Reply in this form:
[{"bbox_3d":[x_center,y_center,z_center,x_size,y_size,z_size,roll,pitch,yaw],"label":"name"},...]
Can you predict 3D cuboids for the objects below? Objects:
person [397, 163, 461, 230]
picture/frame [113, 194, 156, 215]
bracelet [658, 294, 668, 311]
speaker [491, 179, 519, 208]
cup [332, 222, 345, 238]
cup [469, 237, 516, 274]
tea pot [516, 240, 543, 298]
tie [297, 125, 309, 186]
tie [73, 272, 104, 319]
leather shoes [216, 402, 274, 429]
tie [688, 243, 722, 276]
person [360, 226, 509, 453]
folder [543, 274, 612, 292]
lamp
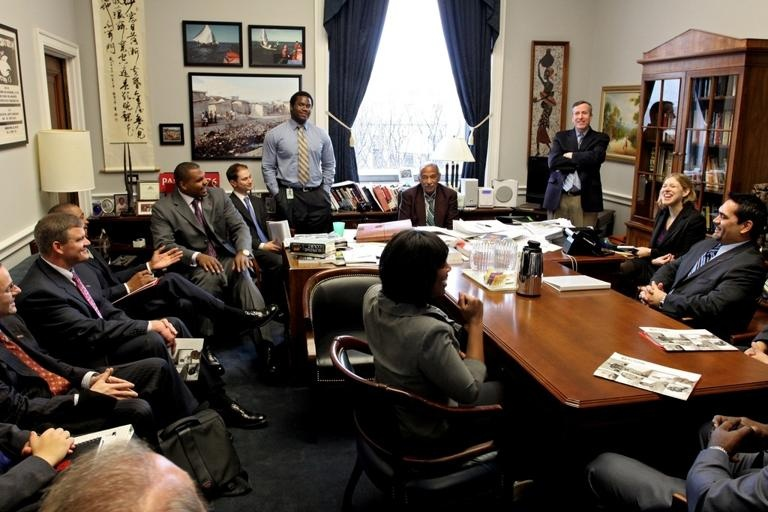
[{"bbox_3d":[0.450,-0.653,5.344,0.681,0.968,0.601,0,5,1],"label":"person"},{"bbox_3d":[-2.839,-0.577,5.697,0.309,0.203,0.025,0,-13,1],"label":"picture/frame"},{"bbox_3d":[1.914,0.326,3.453,0.026,0.096,0.095,-1,27,23],"label":"bracelet"},{"bbox_3d":[1.558,-0.793,6.478,0.306,0.333,0.332,-1,5,0],"label":"speaker"},{"bbox_3d":[-0.409,-0.235,4.425,0.120,0.140,0.123,1,10,0],"label":"cup"},{"bbox_3d":[0.764,-0.004,3.519,0.293,0.232,0.206,1,4,2],"label":"cup"},{"bbox_3d":[0.899,0.075,3.097,0.156,0.332,0.148,-1,16,0],"label":"tea pot"},{"bbox_3d":[-0.943,-1.156,5.811,0.141,0.639,0.180,-3,16,-8],"label":"tie"},{"bbox_3d":[-1.972,0.272,3.321,0.046,0.336,0.034,-28,27,-20],"label":"tie"},{"bbox_3d":[-0.968,1.075,3.478,0.415,0.178,0.150,3,10,5],"label":"leather shoes"},{"bbox_3d":[2.233,0.033,3.485,0.066,0.048,0.266,-44,-2,-18],"label":"tie"},{"bbox_3d":[0.242,0.364,2.346,0.637,0.989,0.581,-5,17,-14],"label":"person"},{"bbox_3d":[1.215,0.176,3.223,0.180,0.029,0.201,-3,16,-6],"label":"folder"},{"bbox_3d":[-2.809,-0.845,4.623,0.488,0.580,0.509,5,8,30],"label":"lamp"}]
